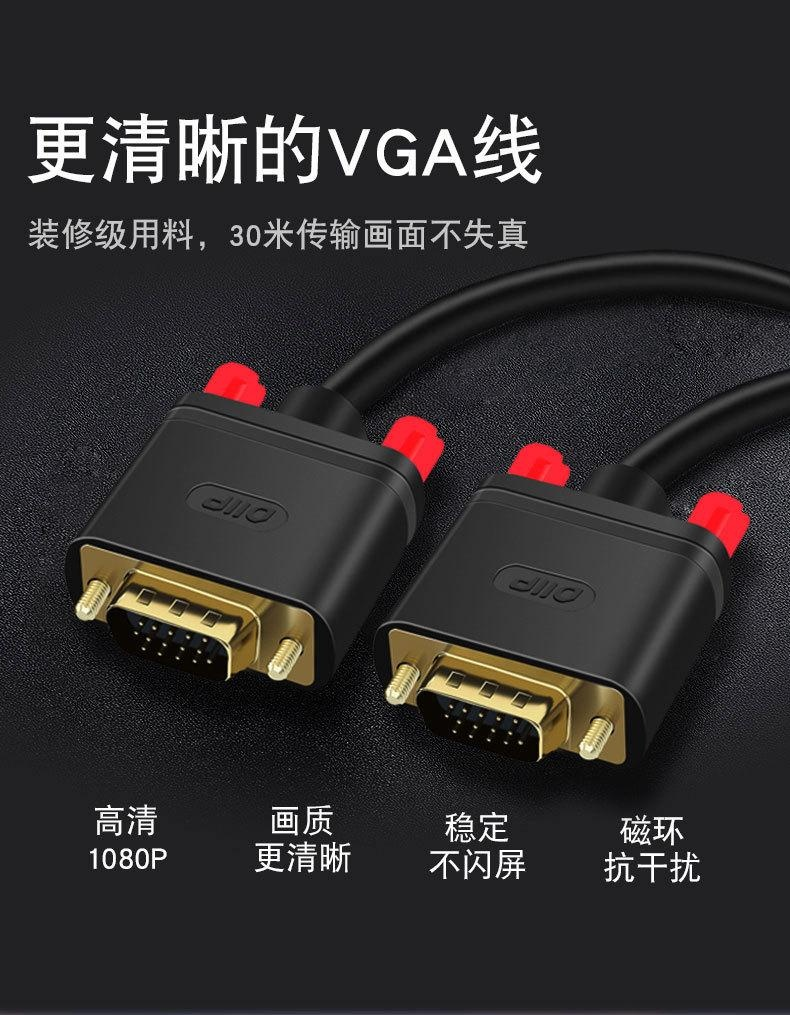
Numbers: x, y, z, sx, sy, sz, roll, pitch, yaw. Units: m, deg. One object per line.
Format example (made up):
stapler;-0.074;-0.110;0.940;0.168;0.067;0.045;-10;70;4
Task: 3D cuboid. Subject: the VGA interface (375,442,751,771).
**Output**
VGA interface;0.149;0.094;0.900;0.253;0.131;0.292;26;60;11

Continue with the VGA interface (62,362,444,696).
VGA interface;-0.135;0.020;0.950;0.258;0.103;0.328;18;46;18
